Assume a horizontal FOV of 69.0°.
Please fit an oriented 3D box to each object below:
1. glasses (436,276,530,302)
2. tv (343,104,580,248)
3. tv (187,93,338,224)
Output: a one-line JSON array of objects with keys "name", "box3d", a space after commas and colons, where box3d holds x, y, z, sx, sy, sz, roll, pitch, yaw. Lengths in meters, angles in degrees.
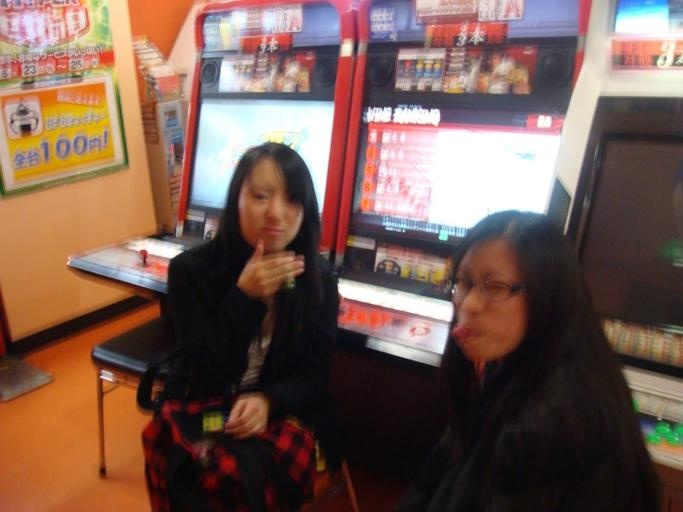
[{"name": "glasses", "box3d": [0.260, 0.059, 0.899, 0.116, 0.032, 0.114, 4, -1, -39]}, {"name": "tv", "box3d": [0.364, -0.246, 1.448, 0.437, 0.271, 0.045, 18, 12, 35]}, {"name": "tv", "box3d": [-0.298, -0.459, 2.024, 0.031, 0.528, 0.740, 23, 27, 38]}]
